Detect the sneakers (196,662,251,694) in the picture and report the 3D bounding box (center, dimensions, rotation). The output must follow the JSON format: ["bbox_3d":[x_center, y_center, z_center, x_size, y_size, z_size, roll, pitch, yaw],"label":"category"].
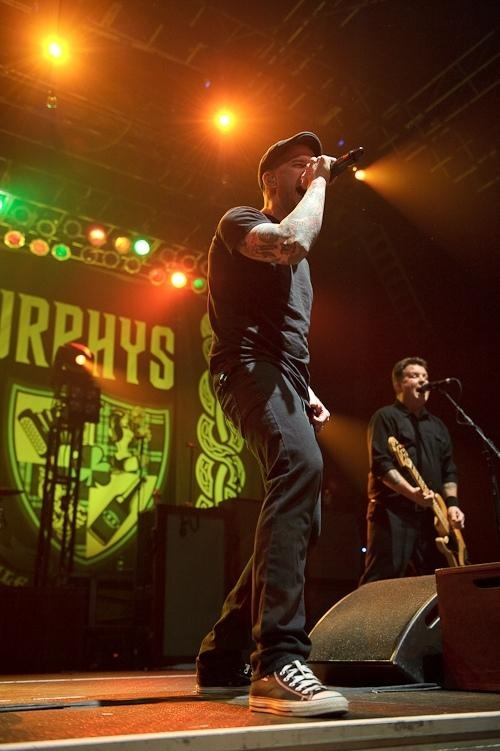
[{"bbox_3d":[-0.047,0.940,2.018,0.231,0.090,0.081,4,-21,-13],"label":"sneakers"}]

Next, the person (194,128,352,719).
[{"bbox_3d":[0.064,0.043,1.847,0.421,1.826,0.862,0,-9,-4],"label":"person"}]

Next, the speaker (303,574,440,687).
[{"bbox_3d":[0.440,0.948,2.342,0.451,0.284,0.432,11,-28,-27],"label":"speaker"}]

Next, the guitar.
[{"bbox_3d":[0.927,0.683,3.482,0.090,0.301,0.789,-23,-47,21],"label":"guitar"}]

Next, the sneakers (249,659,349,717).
[{"bbox_3d":[0.087,0.684,1.434,0.090,0.111,0.259,14,-27,-40],"label":"sneakers"}]
